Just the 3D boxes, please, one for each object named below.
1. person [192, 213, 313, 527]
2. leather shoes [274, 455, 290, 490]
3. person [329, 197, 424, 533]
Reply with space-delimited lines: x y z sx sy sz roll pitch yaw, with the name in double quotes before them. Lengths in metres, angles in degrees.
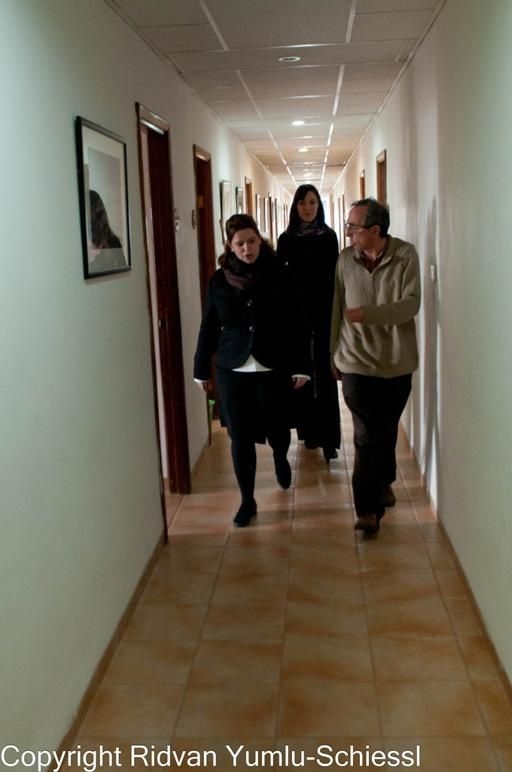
"person" -0.026 -0.035 3.013 0.502 1.668 0.530 -4 2 -39
"leather shoes" 0.179 0.575 3.585 0.074 0.187 0.245 0 13 4
"person" 0.633 -0.082 2.857 0.450 1.720 0.597 -2 2 6
